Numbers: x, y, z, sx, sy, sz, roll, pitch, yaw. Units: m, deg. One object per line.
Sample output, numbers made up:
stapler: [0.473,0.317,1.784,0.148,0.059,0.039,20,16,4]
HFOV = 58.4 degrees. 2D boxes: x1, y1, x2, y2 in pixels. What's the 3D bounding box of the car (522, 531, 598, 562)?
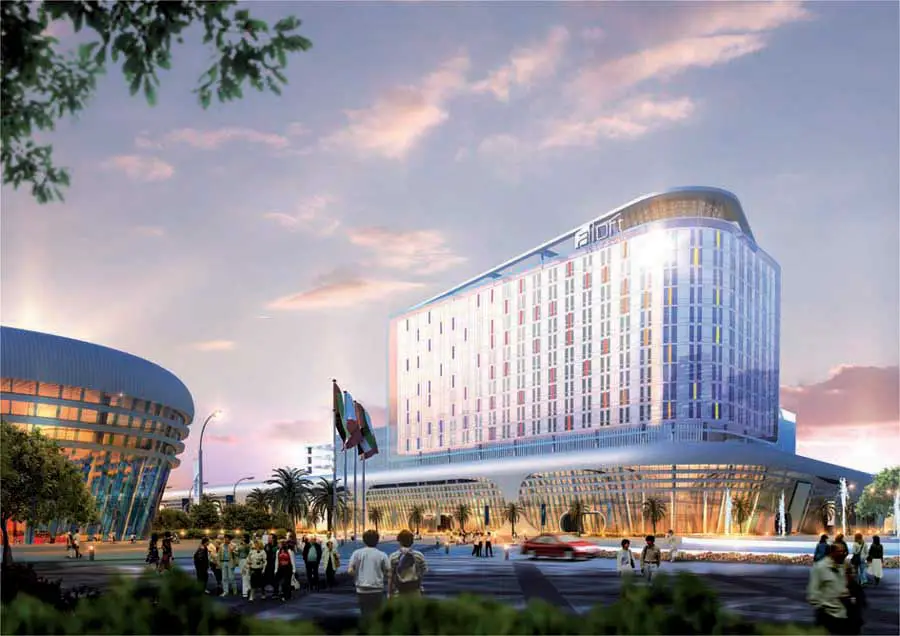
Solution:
car: [6.562,14.124,49.193,1.926,1.328,4.371,6,-15,-44]
